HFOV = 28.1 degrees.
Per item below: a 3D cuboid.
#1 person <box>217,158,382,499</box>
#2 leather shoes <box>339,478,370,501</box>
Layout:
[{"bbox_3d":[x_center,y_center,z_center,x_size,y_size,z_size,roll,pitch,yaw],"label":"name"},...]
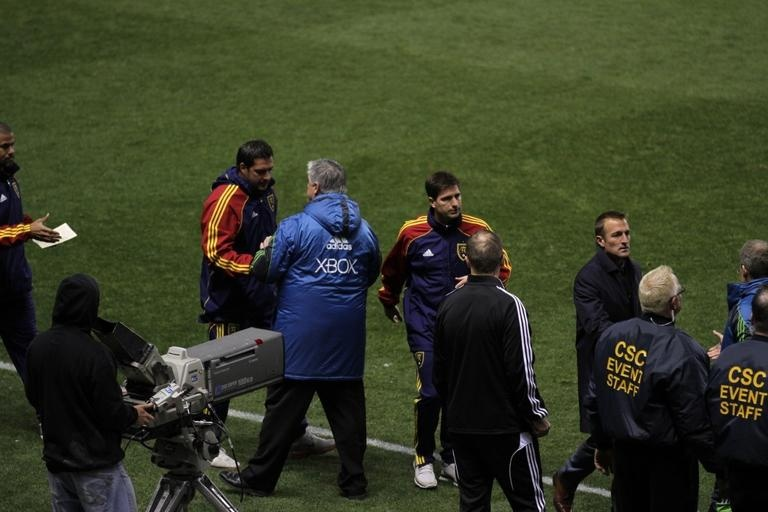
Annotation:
[{"bbox_3d":[-0.733,0.769,16.339,1.353,3.553,0.827,0,11,-1],"label":"person"},{"bbox_3d":[-0.325,2.481,16.301,0.315,0.168,0.200,5,6,44],"label":"leather shoes"}]
